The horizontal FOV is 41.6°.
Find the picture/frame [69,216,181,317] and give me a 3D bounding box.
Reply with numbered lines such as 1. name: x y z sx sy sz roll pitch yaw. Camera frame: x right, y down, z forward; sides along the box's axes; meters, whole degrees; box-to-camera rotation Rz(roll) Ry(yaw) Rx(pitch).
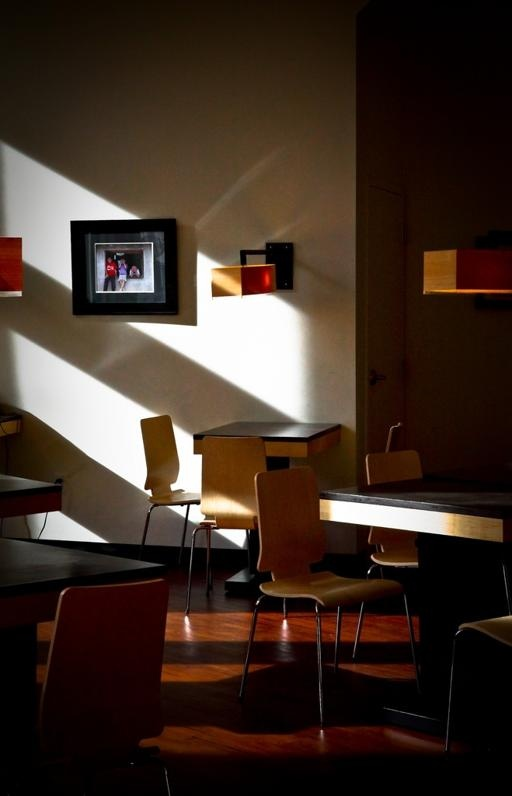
1. picture/frame: -0.940 -1.000 5.000 0.639 0.639 0.055 1 4 4

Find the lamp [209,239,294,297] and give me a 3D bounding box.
1. lamp: -0.024 -0.813 4.265 0.518 0.413 0.409 -1 1 -7

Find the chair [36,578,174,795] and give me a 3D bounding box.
1. chair: -0.247 0.459 1.091 0.210 0.353 0.199 2 -5 -31

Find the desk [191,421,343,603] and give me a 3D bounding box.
1. desk: 0.053 0.788 4.278 0.822 1.373 1.269 0 3 16
